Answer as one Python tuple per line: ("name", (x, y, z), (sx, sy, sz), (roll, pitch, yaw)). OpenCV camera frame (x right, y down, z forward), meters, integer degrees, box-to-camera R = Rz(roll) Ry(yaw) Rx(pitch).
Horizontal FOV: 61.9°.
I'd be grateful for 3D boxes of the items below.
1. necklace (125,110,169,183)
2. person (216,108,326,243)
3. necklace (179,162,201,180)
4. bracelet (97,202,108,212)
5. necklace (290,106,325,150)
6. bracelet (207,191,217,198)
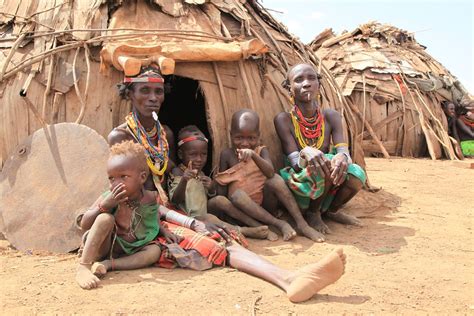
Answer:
("necklace", (-1.069, -0.107, 4.338), (0.174, 0.688, 0.560), (-22, -9, 24))
("person", (0.382, 0.196, 4.452), (1.499, 1.335, 0.822), (14, 24, 40))
("necklace", (-0.524, 0.131, 4.465), (0.250, 0.172, 0.168), (14, 36, 43))
("bracelet", (-1.219, 0.451, 3.609), (0.090, 0.066, 0.089), (-4, 2, -18))
("necklace", (0.858, -0.355, 4.762), (0.398, 0.501, 0.117), (-6, -3, -9))
("bracelet", (-0.296, 0.427, 4.685), (0.097, 0.077, 0.073), (-7, 44, 8))
